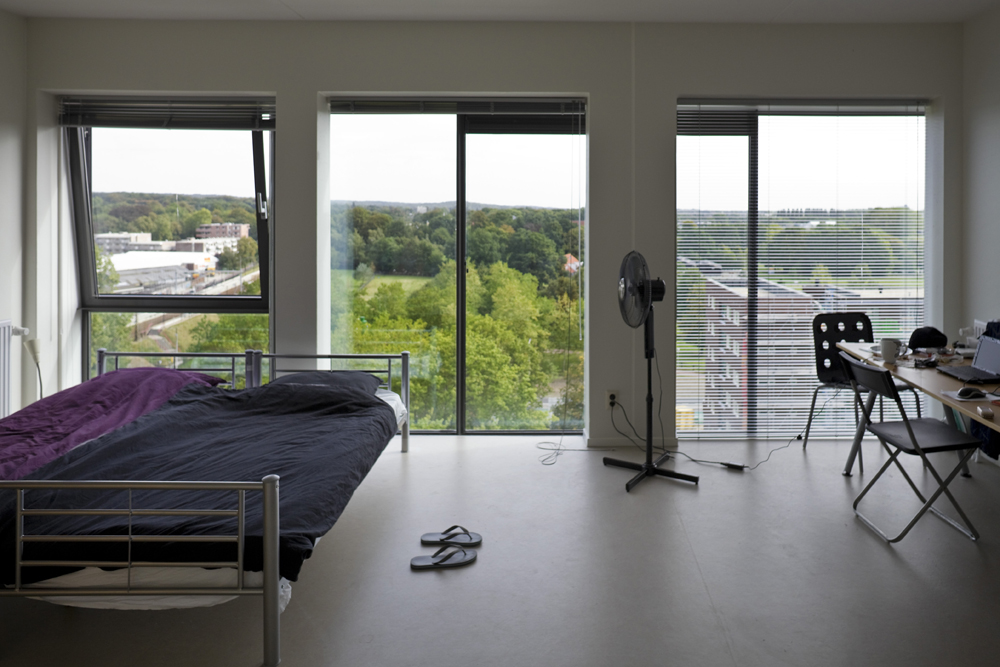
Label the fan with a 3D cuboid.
[{"bbox_3d":[1.116,0.230,5.916,0.605,1.707,0.905,1,7,3],"label":"fan"}]

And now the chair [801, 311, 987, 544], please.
[{"bbox_3d":[2.870,0.688,5.596,0.517,0.951,1.365,-2,5,3],"label":"chair"}]

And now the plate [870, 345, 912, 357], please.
[{"bbox_3d":[2.950,0.126,5.845,0.236,0.112,0.143,-13,1,19],"label":"plate"}]

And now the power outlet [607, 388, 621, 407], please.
[{"bbox_3d":[0.943,0.534,6.456,0.114,0.222,0.118,3,2,4],"label":"power outlet"}]

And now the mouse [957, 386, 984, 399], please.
[{"bbox_3d":[2.899,0.370,4.756,0.141,0.049,0.167,6,9,31],"label":"mouse"}]

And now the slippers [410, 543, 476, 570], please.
[{"bbox_3d":[-0.350,1.374,4.715,0.282,0.068,0.151,-4,9,-8],"label":"slippers"}]

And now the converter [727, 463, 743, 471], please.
[{"bbox_3d":[1.817,1.025,5.928,0.142,0.030,0.123,1,7,0],"label":"converter"}]

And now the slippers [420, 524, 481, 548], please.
[{"bbox_3d":[-0.312,1.300,4.928,0.270,0.066,0.154,-2,7,-2],"label":"slippers"}]
